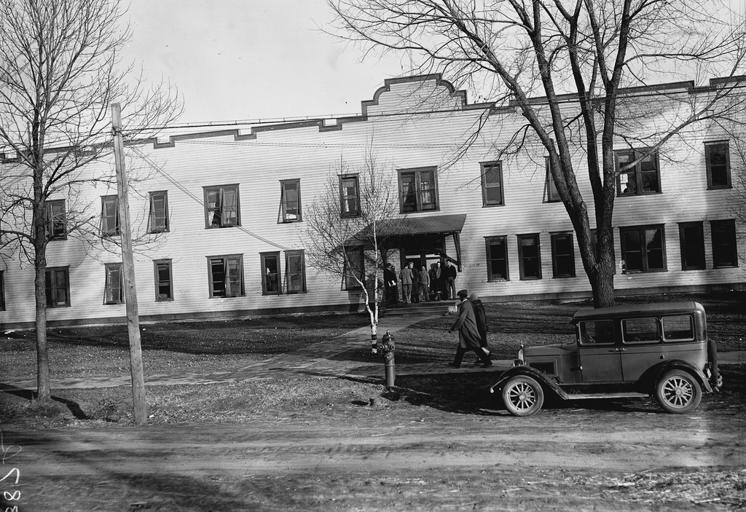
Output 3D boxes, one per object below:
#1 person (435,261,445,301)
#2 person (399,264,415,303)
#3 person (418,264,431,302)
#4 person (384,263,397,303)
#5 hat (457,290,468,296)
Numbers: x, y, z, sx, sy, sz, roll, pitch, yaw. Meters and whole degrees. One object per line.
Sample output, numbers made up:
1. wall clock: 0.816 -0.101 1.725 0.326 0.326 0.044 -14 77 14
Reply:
1. person: 3.180 1.172 47.657 0.445 1.572 0.775 -2 12 3
2. person: 1.615 1.312 47.427 0.615 1.872 1.366 -3 12 2
3. person: 2.419 1.370 47.389 0.476 1.474 1.351 -2 12 3
4. person: 0.788 1.289 47.118 0.602 1.898 0.400 2 13 23
5. hat: 2.804 1.192 31.783 0.367 0.135 0.412 -1 -3 -4
